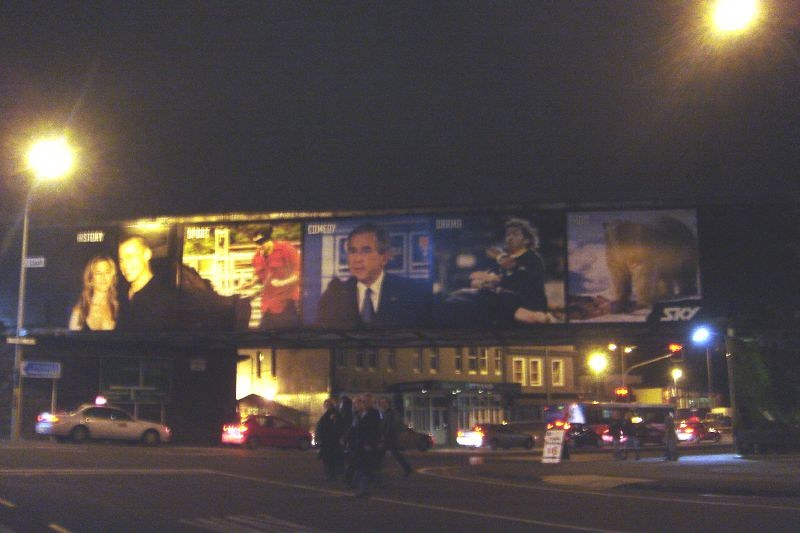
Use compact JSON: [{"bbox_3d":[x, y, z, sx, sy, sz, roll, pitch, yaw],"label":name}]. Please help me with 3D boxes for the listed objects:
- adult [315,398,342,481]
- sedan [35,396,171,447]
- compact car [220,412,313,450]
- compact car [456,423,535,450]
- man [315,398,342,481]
[{"bbox_3d":[-2.648,6.390,42.310,0.899,3.011,0.988,1,-14,-4],"label":"adult"},{"bbox_3d":[-14.917,7.754,57.552,6.306,1.813,2.432,3,-6,-34],"label":"sedan"},{"bbox_3d":[-6.958,8.789,60.329,3.958,1.386,2.008,1,-4,-27],"label":"compact car"},{"bbox_3d":[6.501,10.831,72.429,4.609,1.443,2.055,0,-3,-19],"label":"compact car"},{"bbox_3d":[-2.648,6.379,42.298,0.899,2.994,0.962,0,-14,-4],"label":"man"}]
